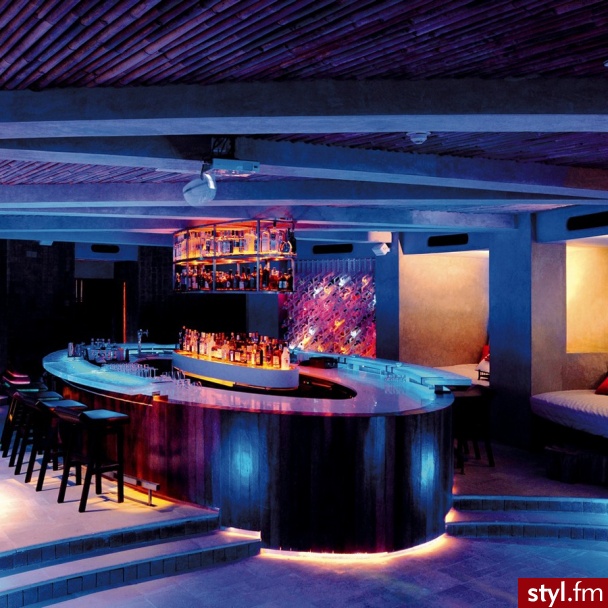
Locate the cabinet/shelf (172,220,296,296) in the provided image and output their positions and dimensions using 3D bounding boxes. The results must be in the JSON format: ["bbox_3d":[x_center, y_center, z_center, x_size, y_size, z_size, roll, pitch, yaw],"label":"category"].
[{"bbox_3d":[-0.825,-0.508,8.311,0.778,1.061,1.831,-2,13,-34],"label":"cabinet/shelf"}]

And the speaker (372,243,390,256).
[{"bbox_3d":[1.133,-0.794,10.666,0.192,0.170,0.191,0,-2,-41],"label":"speaker"}]

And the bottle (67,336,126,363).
[{"bbox_3d":[-2.351,0.549,8.277,0.417,0.179,0.516,1,1,-39],"label":"bottle"}]
